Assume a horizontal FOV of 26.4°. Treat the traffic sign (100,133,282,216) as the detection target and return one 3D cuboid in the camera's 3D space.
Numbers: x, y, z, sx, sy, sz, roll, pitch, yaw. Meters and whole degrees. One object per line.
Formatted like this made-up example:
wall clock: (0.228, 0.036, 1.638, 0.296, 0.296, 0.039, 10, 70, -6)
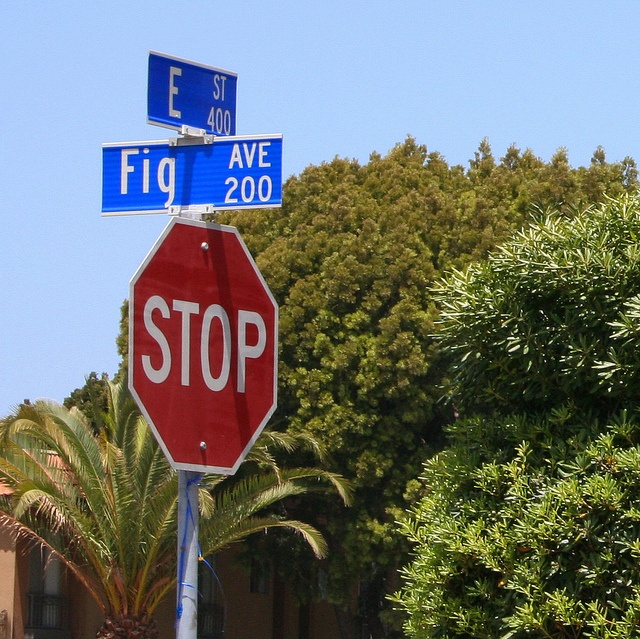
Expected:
traffic sign: (-0.794, -0.878, 8.341, 1.149, 0.436, 0.111, 6, -2, 10)
